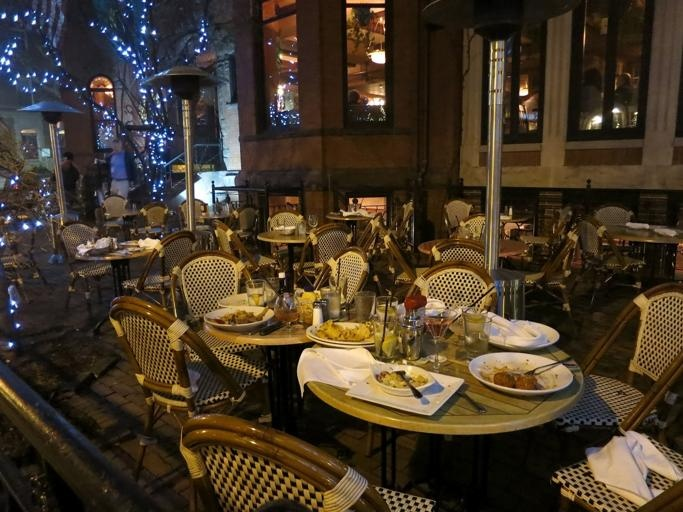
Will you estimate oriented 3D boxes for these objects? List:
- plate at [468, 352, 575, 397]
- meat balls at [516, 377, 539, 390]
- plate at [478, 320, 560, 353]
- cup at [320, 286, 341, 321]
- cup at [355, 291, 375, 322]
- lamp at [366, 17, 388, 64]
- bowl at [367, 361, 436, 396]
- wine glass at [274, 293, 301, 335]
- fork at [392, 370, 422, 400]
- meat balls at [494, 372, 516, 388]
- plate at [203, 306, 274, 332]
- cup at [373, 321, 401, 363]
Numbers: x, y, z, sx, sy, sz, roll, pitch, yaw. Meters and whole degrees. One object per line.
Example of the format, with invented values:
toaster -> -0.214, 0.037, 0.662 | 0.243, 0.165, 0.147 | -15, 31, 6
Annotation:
plate -> 0.894, 0.582, 2.599 | 0.503, 0.094, 0.389 | 1, 13, 12
meat balls -> 0.870, 0.604, 2.472 | 0.084, 0.054, 0.066 | 2, 13, 17
plate -> 1.013, 0.428, 2.945 | 0.381, 0.164, 0.379 | 1, 13, 13
cup -> -0.043, 0.315, 3.342 | 0.170, 0.263, 0.164 | -1, 2, 0
cup -> 0.135, 0.313, 3.161 | 0.155, 0.181, 0.158 | 4, 8, 0
lamp -> 0.694, -4.235, 10.153 | 0.486, 0.972, 0.481 | -20, 31, -37
bowl -> 0.280, 0.596, 2.516 | 0.290, 0.355, 0.064 | -5, 47, 21
wine glass -> -0.332, 0.357, 3.250 | 0.193, 0.236, 0.181 | 3, 8, 27
fork -> 0.319, 0.604, 2.506 | 0.047, 0.039, 0.257 | -4, 14, -7
meat balls -> 0.780, 0.598, 2.506 | 0.098, 0.043, 0.113 | 2, 13, 17
plate -> -0.659, 0.391, 3.384 | 0.439, 0.070, 0.438 | -3, 13, -4
cup -> 0.244, 0.457, 2.784 | 0.170, 0.205, 0.180 | 0, 4, 0
